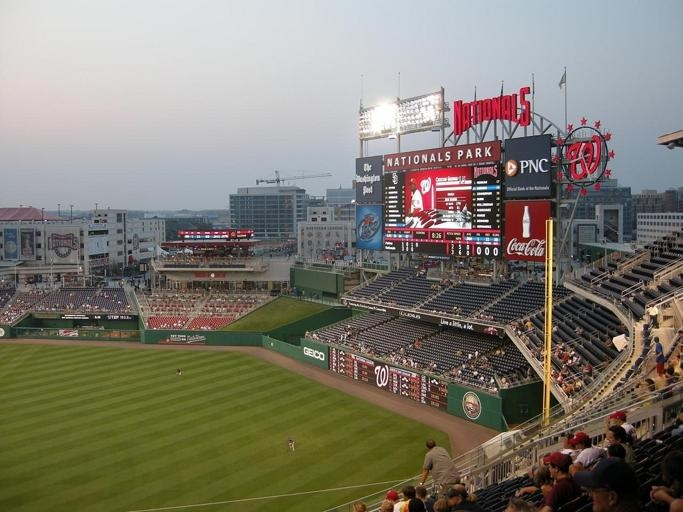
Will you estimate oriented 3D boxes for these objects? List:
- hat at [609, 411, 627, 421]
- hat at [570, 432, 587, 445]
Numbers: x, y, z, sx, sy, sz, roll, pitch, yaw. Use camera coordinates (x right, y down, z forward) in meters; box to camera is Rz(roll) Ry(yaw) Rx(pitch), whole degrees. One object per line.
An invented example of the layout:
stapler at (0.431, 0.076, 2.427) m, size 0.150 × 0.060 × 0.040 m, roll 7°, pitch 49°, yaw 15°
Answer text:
hat at (6.911, 4.029, 15.922) m, size 0.349 × 0.250 × 0.468 m, roll 2°, pitch 6°, yaw 21°
hat at (5.895, 4.512, 15.745) m, size 0.343 × 0.288 × 0.451 m, roll 1°, pitch 6°, yaw 18°
